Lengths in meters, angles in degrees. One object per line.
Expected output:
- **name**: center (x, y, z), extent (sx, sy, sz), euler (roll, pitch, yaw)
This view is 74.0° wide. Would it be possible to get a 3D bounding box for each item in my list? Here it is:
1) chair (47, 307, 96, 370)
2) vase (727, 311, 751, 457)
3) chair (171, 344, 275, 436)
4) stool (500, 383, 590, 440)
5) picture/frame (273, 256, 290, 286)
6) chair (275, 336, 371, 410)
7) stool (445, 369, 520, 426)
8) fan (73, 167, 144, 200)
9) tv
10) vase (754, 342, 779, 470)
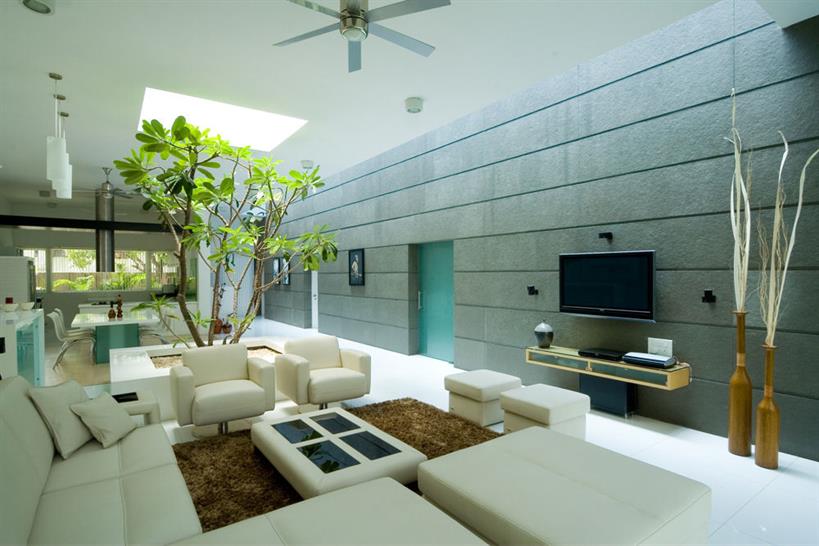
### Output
- **chair**: center (-5.695, 1.142, 9.196), extent (0.913, 1.087, 0.829), euler (-1, 4, -21)
- **vase**: center (3.300, 1.097, 5.437), extent (0.196, 1.436, 0.190), euler (1, 2, 30)
- **chair**: center (-2.077, 1.193, 6.200), extent (1.239, 1.028, 0.917), euler (3, -7, -34)
- **stool**: center (1.450, 1.340, 5.721), extent (0.654, 0.408, 0.637), euler (-2, 3, -39)
- **picture/frame**: center (-2.675, -0.036, 11.441), extent (0.096, 0.626, 0.885), euler (0, -3, -30)
- **chair**: center (-1.027, 1.173, 6.488), extent (1.002, 0.619, 0.926), euler (2, -4, -35)
- **stool**: center (0.853, 1.375, 6.309), extent (0.658, 0.428, 0.641), euler (-2, 4, -39)
- **fan**: center (-4.966, -1.486, 8.970), extent (1.078, 0.392, 1.030), euler (-1, -1, 0)
- **tv**: center (2.359, 0.156, 6.400), extent (0.104, 0.637, 0.966), euler (1, -1, -43)
- **vase**: center (3.472, 1.290, 5.286), extent (0.194, 1.163, 0.223), euler (2, 2, 32)
